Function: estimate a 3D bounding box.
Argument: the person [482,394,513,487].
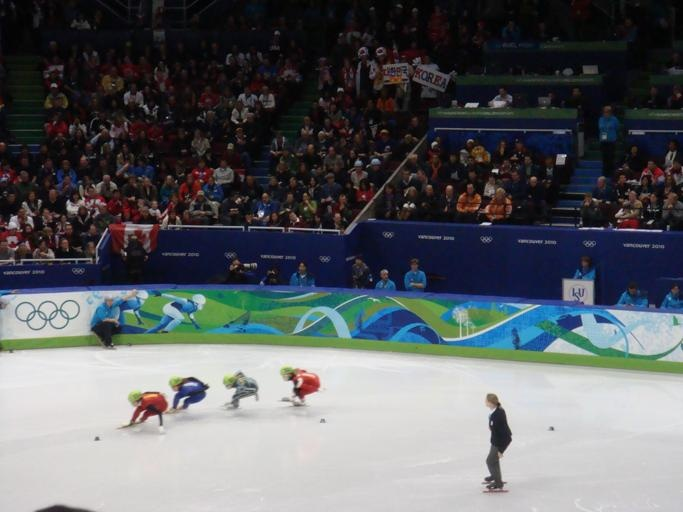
[{"bbox_3d":[3.078,3.613,18.031,0.480,1.951,0.808,1,8,10],"label":"person"}]

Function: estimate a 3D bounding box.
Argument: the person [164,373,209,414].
[{"bbox_3d":[-3.565,3.225,21.410,0.886,0.950,0.799,-1,8,-10],"label":"person"}]

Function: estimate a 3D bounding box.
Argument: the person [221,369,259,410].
[{"bbox_3d":[-2.357,3.177,21.566,0.769,0.911,0.860,-1,8,-8],"label":"person"}]

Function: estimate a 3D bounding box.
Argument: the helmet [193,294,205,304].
[{"bbox_3d":[-3.947,1.207,25.629,0.286,0.243,0.253,-6,13,13],"label":"helmet"}]

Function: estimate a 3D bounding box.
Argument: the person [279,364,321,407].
[{"bbox_3d":[-0.977,3.074,21.646,0.873,0.989,0.886,-1,8,-7],"label":"person"}]

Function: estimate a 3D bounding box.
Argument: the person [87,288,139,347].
[{"bbox_3d":[-6.317,1.762,25.305,1.174,1.551,0.415,-2,8,-17],"label":"person"}]

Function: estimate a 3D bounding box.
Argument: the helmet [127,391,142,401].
[{"bbox_3d":[-4.538,3.109,20.247,0.259,0.221,0.366,-1,8,-8],"label":"helmet"}]

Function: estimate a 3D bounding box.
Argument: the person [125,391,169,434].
[{"bbox_3d":[-4.354,3.431,20.565,0.837,0.949,0.850,-2,8,-14],"label":"person"}]

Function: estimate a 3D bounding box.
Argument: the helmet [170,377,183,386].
[{"bbox_3d":[-3.782,2.899,21.066,0.276,0.205,0.305,-1,8,-6],"label":"helmet"}]

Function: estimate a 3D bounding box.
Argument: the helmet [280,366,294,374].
[{"bbox_3d":[-1.252,2.692,21.382,0.294,0.160,0.301,4,9,26],"label":"helmet"}]

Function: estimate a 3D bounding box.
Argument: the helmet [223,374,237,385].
[{"bbox_3d":[-2.563,2.892,21.197,0.243,0.220,0.251,-3,14,-6],"label":"helmet"}]
